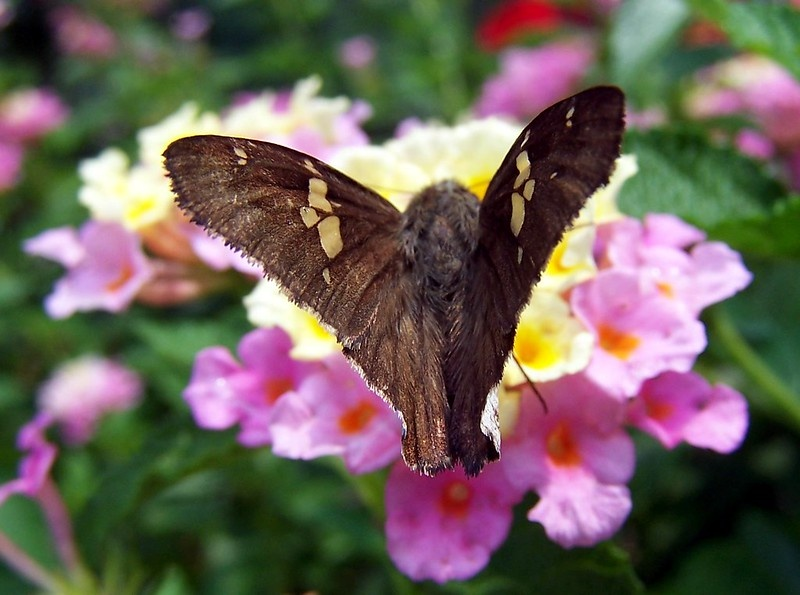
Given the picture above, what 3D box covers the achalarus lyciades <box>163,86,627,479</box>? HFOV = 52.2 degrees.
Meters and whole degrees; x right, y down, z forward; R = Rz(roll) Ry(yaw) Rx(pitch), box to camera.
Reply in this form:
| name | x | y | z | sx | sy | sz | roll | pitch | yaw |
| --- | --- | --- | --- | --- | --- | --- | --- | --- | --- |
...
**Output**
| name | x | y | z | sx | sy | sz | roll | pitch | yaw |
| --- | --- | --- | --- | --- | --- | --- | --- | --- | --- |
| achalarus lyciades | 0.025 | 0.048 | 0.886 | 0.540 | 0.284 | 0.385 | -9 | 67 | 13 |
